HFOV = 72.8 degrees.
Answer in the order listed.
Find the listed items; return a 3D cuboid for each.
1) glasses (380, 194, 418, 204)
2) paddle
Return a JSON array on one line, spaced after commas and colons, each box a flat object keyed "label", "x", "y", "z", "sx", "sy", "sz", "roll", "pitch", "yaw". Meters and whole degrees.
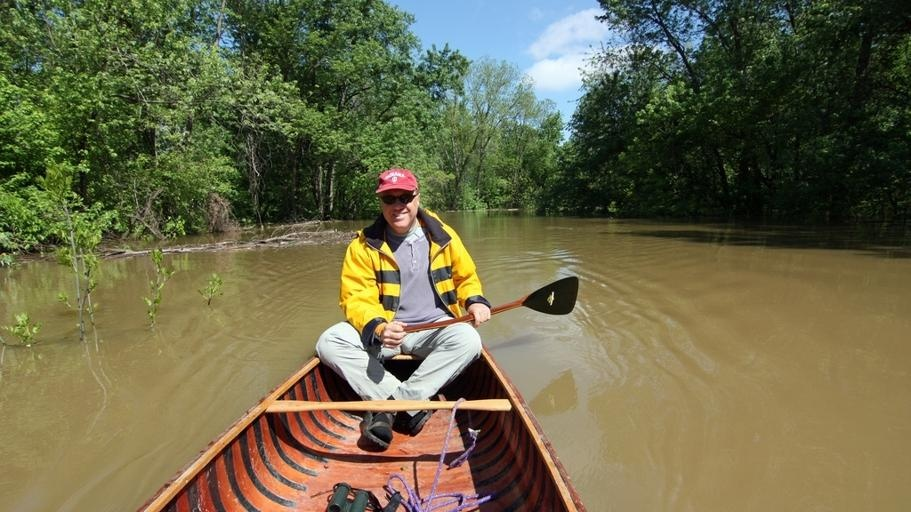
[{"label": "glasses", "x": -1.167, "y": -1.196, "z": 12.960, "sx": 0.686, "sy": 0.238, "sz": 0.165, "roll": -2, "pitch": 6, "yaw": -18}, {"label": "paddle", "x": 0.779, "y": 1.156, "z": 13.846, "sx": 4.359, "sy": 0.905, "sz": 0.324, "roll": -11, "pitch": 20, "yaw": -15}]
